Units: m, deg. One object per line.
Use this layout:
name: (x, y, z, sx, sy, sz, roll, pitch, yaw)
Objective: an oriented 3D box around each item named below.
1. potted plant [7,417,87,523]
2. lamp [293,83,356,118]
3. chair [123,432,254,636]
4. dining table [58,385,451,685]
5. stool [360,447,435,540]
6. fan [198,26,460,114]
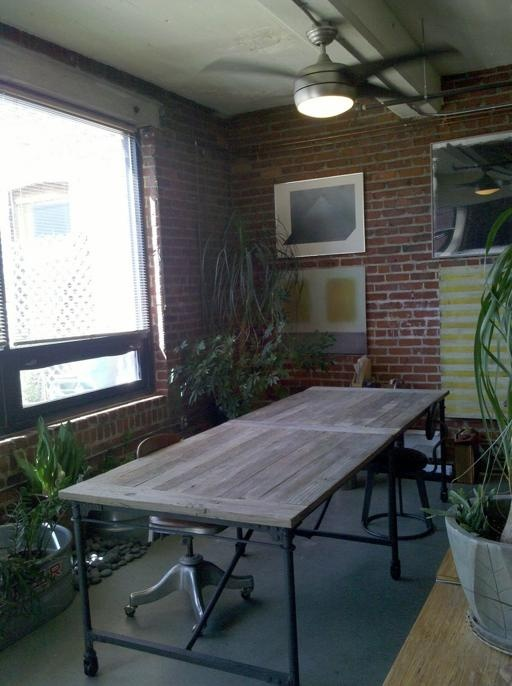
potted plant: (-1.045, 0.621, 2.952, 0.418, 0.342, 0.695, 4, 10, 7)
lamp: (0.348, -1.215, 2.761, 0.288, 0.078, 0.332, -1, 4, 10)
chair: (-0.290, 0.811, 2.400, 0.510, 0.623, 0.473, -4, -4, -18)
dining table: (0.121, 0.757, 2.425, 0.907, 0.734, 1.805, 0, 4, 28)
stool: (0.804, 0.849, 3.143, 0.438, 0.411, 0.439, -2, -1, 31)
fan: (0.503, -1.705, 3.403, 0.757, 0.254, 0.737, -7, 13, -31)
